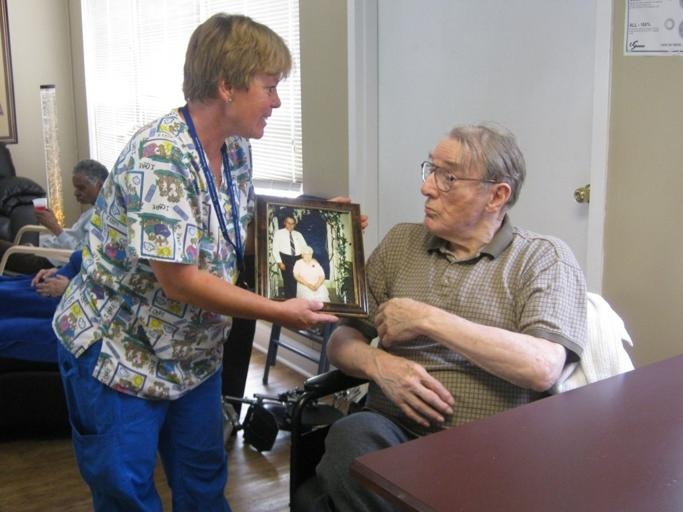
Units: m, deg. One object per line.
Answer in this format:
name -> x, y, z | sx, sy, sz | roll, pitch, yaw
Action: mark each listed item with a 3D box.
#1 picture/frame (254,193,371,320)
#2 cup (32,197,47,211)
picture/frame -> -0.104, 0.007, 1.826 | 0.377, 0.404, 0.030 | 7, -26, -19
cup -> -1.979, -0.343, 3.797 | 0.069, 0.080, 0.192 | -4, 12, -30
